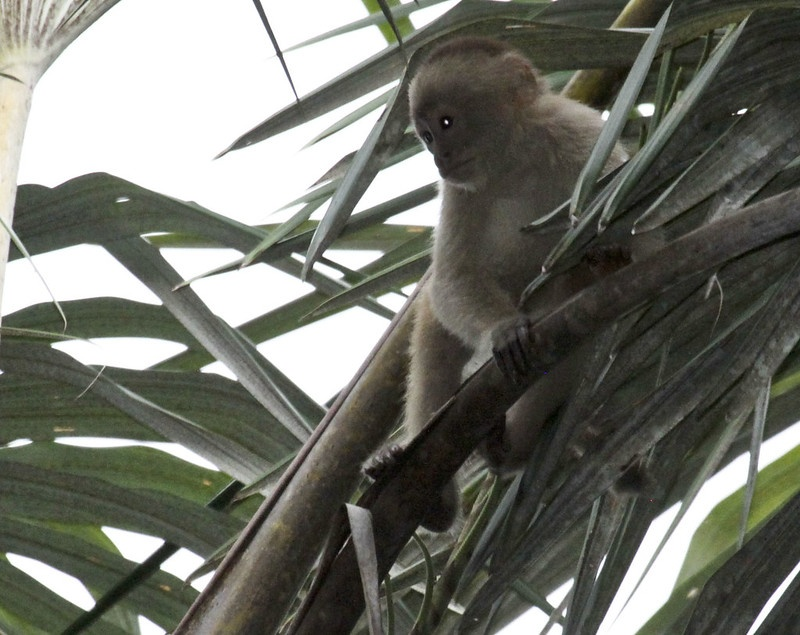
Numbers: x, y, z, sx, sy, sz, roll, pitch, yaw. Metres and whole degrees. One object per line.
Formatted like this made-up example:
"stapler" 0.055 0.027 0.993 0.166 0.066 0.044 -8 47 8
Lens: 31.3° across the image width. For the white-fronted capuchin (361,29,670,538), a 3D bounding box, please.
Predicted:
"white-fronted capuchin" 0.390 -0.153 4.584 0.738 0.798 1.644 0 -85 21
